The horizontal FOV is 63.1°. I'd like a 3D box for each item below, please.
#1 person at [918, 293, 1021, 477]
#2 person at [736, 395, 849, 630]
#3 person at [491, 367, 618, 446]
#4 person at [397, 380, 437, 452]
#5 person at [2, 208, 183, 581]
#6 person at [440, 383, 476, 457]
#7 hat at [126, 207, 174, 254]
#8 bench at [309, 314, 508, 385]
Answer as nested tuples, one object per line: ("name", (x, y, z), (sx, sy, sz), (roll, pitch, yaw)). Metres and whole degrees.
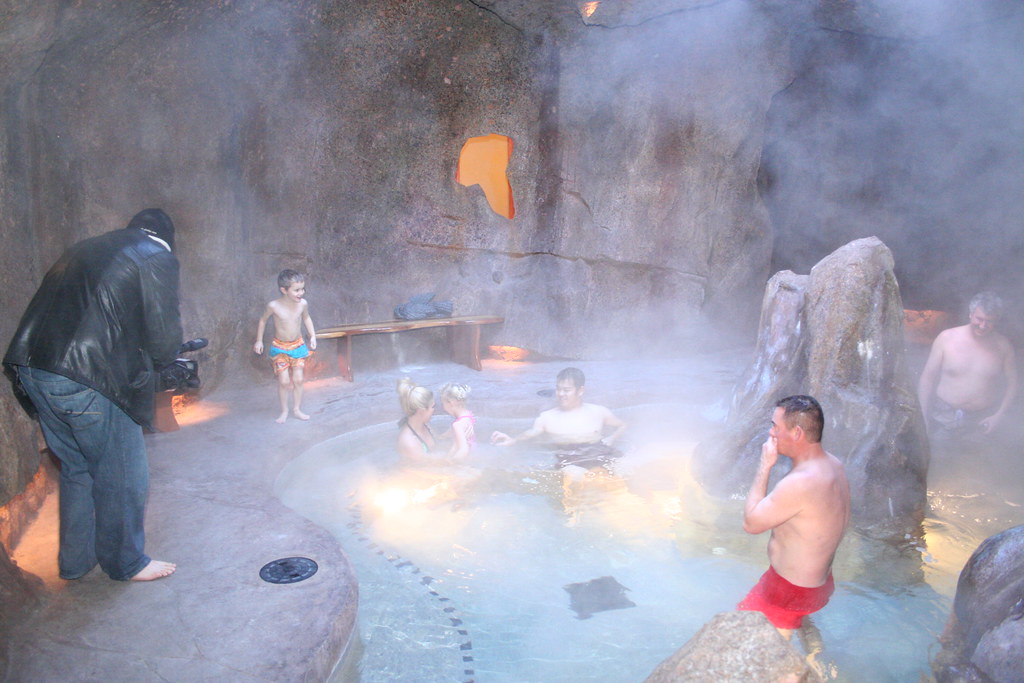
("person", (4.779, 0.392, 8.771), (0.891, 1.815, 0.478), (2, 10, 13))
("person", (2.156, 1.326, 6.348), (0.731, 1.802, 0.402), (3, 10, 19))
("person", (0.525, 0.842, 9.185), (1.441, 1.093, 0.779), (-4, 5, -5))
("person", (-0.981, 0.776, 8.754), (0.395, 0.801, 0.321), (-3, 10, -17))
("person", (-3.164, 0.509, 6.470), (1.227, 2.715, 0.534), (-4, 11, -22))
("person", (-0.551, 0.816, 8.864), (0.313, 0.759, 0.319), (-1, 10, -3))
("hat", (-2.948, -0.905, 6.895), (0.145, 0.361, 0.410), (-32, -16, 20))
("bench", (-1.365, 0.033, 11.567), (2.467, 0.695, 0.955), (-4, 10, -25))
